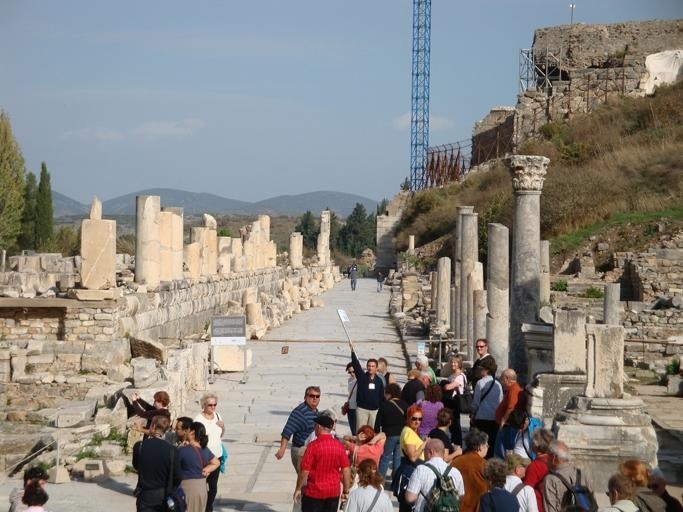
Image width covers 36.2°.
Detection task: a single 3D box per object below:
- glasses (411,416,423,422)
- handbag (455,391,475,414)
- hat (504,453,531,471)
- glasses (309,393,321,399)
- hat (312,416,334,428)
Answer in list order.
[{"bbox_3d":[1.094,2.365,15.070,0.106,0.081,0.212,-4,-7,34],"label":"glasses"},{"bbox_3d":[1.942,2.359,16.674,0.156,0.435,0.405,-3,-3,38],"label":"handbag"},{"bbox_3d":[2.375,2.796,14.139,0.337,0.220,0.270,0,-6,-1],"label":"hat"},{"bbox_3d":[-0.405,2.103,15.490,0.174,0.081,0.080,4,-7,-33],"label":"glasses"},{"bbox_3d":[-0.251,2.336,14.607,0.255,0.213,0.201,1,-6,-2],"label":"hat"}]
